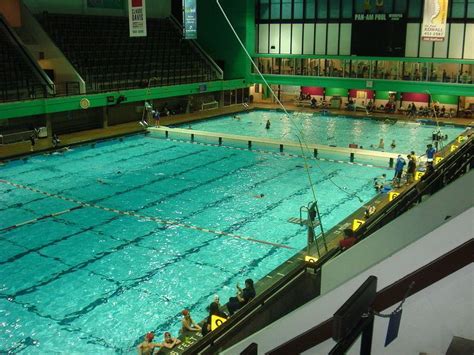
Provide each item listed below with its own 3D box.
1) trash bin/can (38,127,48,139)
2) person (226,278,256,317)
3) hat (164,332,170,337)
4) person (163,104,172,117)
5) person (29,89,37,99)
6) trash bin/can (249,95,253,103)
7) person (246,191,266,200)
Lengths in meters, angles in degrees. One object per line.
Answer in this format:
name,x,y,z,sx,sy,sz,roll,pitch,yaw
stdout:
trash bin/can,-10.865,-2.500,21.247,0.528,0.576,0.594,5,18,2
person,0.071,2.450,7.679,0.551,0.748,0.411,3,21,15
hat,-1.277,2.908,7.038,0.092,0.089,0.098,2,28,1
person,-5.337,-5.175,29.096,0.605,0.867,1.138,-5,19,-7
person,-11.193,-4.587,20.812,0.344,0.542,0.779,-12,21,-25
trash bin/can,1.388,-7.539,36.446,0.379,0.644,0.831,-2,18,2
person,0.670,0.715,14.397,0.821,0.221,0.211,9,37,11
